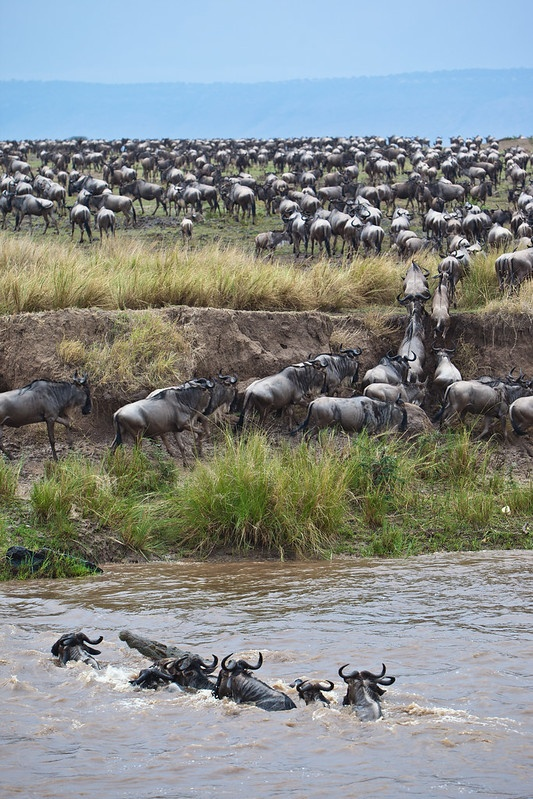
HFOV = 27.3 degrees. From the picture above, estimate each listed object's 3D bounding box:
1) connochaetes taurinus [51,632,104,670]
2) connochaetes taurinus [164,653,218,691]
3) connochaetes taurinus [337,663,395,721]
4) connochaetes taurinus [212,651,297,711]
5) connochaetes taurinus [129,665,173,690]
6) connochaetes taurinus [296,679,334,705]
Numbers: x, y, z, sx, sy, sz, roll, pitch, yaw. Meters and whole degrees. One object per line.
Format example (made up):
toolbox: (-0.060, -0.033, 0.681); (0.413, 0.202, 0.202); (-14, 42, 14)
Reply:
connochaetes taurinus: (-1.167, 1.552, 6.748); (0.305, 0.172, 0.319); (0, 7, -11)
connochaetes taurinus: (-0.432, 1.596, 6.423); (0.196, 0.167, 0.304); (5, -13, -30)
connochaetes taurinus: (0.532, 1.607, 6.059); (0.422, 0.267, 0.490); (-3, 2, -7)
connochaetes taurinus: (-0.096, 1.612, 6.133); (0.491, 0.341, 0.228); (31, 29, 36)
connochaetes taurinus: (-0.665, 1.628, 6.379); (0.148, 0.062, 0.149); (14, 16, 32)
connochaetes taurinus: (0.261, 1.608, 6.085); (0.196, 0.202, 0.315); (1, 7, 1)
